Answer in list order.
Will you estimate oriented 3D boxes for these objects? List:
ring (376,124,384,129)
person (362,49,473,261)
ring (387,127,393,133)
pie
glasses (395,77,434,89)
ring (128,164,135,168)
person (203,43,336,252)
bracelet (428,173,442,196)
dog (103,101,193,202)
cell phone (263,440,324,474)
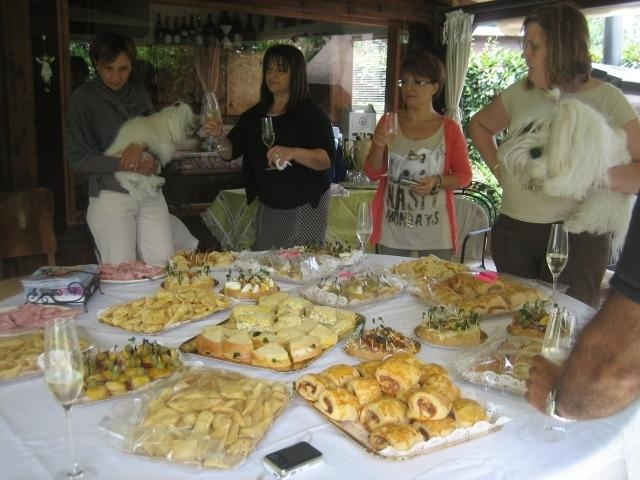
[{"bbox_3d":[0.389,-0.736,2.997,0.047,0.013,0.050,-1,22,1],"label":"ring"},{"bbox_3d":[0.713,-0.250,3.285,0.706,2.008,0.632,2,19,14],"label":"person"},{"bbox_3d":[0.445,-0.702,2.939,0.034,0.032,0.008,3,10,-7],"label":"ring"},{"bbox_3d":[0.233,0.407,1.336,0.323,0.097,0.286,-3,14,-34],"label":"pie"},{"bbox_3d":[0.659,-1.078,3.164,0.233,0.054,0.139,3,16,15],"label":"glasses"},{"bbox_3d":[-1.245,-0.488,3.057,0.026,0.025,0.026,1,31,-1],"label":"ring"},{"bbox_3d":[-0.323,-0.273,3.273,0.815,2.052,0.823,3,12,8],"label":"person"},{"bbox_3d":[0.750,-0.364,3.063,0.046,0.122,0.091,12,-16,10],"label":"bracelet"},{"bbox_3d":[-1.163,-0.594,3.193,0.580,0.650,0.308,-8,17,-24],"label":"dog"},{"bbox_3d":[-0.070,0.572,1.209,0.140,0.026,0.078,-11,18,-31],"label":"cell phone"}]
